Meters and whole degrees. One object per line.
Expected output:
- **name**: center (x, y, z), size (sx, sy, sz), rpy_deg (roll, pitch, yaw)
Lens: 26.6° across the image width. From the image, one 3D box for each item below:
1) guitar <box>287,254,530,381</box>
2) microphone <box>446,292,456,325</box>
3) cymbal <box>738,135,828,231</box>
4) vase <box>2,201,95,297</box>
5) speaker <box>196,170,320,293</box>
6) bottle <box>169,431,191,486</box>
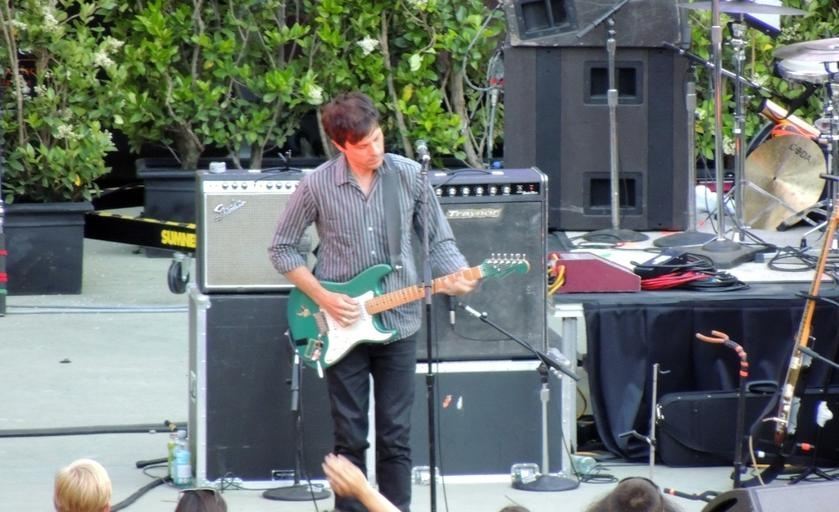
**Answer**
- **guitar**: center (-0.326, 0.427, 13.898), size (2.760, 1.107, 1.001), rpy_deg (-2, 0, -1)
- **microphone**: center (0.234, 0.398, 13.201), size (0.062, 0.211, 0.061), rpy_deg (-2, 0, 2)
- **cymbal**: center (3.255, -0.659, 15.955), size (0.790, 0.917, 0.220), rpy_deg (44, 10, 19)
- **vase**: center (-3.605, -0.087, 16.880), size (1.077, 0.917, 0.802), rpy_deg (0, 1, -15)
- **speaker**: center (-1.357, -0.207, 13.600), size (1.435, 1.254, 0.820), rpy_deg (0, 1, -5)
- **bottle**: center (-1.805, 1.505, 13.325), size (0.175, 0.406, 0.143), rpy_deg (-2, 2, -6)
